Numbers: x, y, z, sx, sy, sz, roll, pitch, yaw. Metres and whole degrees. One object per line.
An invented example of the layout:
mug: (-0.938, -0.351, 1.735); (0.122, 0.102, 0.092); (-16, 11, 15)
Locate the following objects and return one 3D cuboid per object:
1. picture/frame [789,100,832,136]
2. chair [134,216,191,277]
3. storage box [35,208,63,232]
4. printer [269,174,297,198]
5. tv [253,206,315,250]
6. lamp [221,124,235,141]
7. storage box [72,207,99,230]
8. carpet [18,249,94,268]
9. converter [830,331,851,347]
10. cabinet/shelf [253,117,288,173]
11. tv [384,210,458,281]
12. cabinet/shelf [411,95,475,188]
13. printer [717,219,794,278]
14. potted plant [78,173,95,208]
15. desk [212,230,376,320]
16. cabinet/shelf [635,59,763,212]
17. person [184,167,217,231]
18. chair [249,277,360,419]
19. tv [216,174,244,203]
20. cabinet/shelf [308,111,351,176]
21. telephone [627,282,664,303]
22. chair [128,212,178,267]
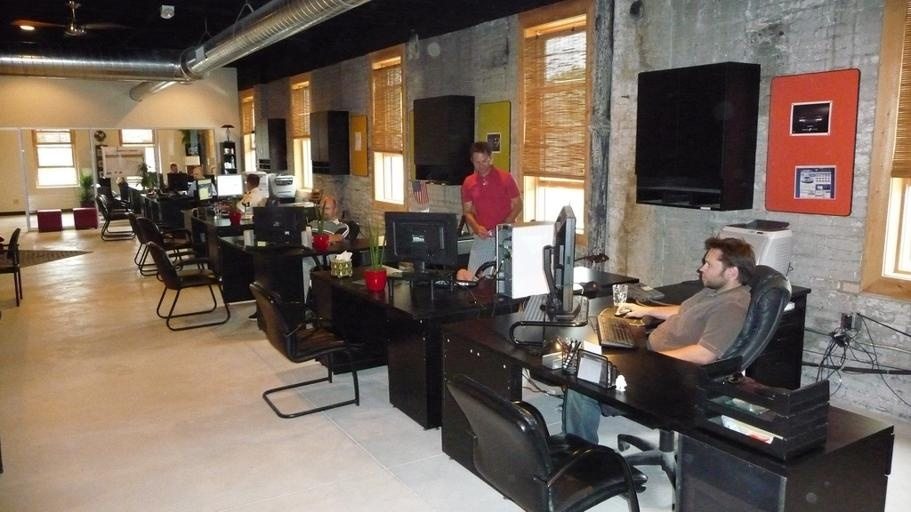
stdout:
picture/frame: (3.803, -1.470, 6.492); (0.455, 0.375, 0.047); (7, 6, 43)
chair: (-5.301, -0.254, 11.047); (0.991, 0.846, 0.820); (-1, -4, -4)
storage box: (-10.429, -0.887, 15.707); (0.540, 0.534, 0.414); (-10, 13, -30)
printer: (-3.840, -1.573, 13.830); (0.577, 0.620, 0.737); (-3, 5, -31)
tv: (-2.322, -0.415, 8.431); (0.849, 0.471, 0.437); (1, 1, 18)
lamp: (-5.518, -3.018, 14.964); (0.379, 0.329, 0.354); (-5, 7, -30)
storage box: (-9.720, -0.972, 16.126); (0.567, 0.554, 0.319); (-9, 13, -28)
carpet: (-8.382, -0.015, 12.754); (1.118, 0.136, 1.827); (-8, 11, -32)
converter: (4.067, 0.874, 6.428); (0.144, 0.092, 0.202); (-3, -3, 41)
cabinet/shelf: (-4.296, -2.610, 14.361); (0.527, 1.282, 1.504); (-4, 8, -29)
tv: (-0.368, -0.111, 6.609); (0.948, 0.567, 0.228); (5, 18, 20)
cabinet/shelf: (-0.158, -1.774, 9.413); (0.960, 1.310, 0.549); (-2, 12, 8)
printer: (3.285, -0.074, 6.700); (0.526, 0.507, 0.653); (-9, 14, -30)
potted plant: (-10.789, -1.939, 17.862); (0.443, 0.974, 0.427); (-10, 13, -28)
desk: (-2.437, 0.157, 8.518); (1.389, 0.757, 1.735); (-6, 12, -33)
cabinet/shelf: (2.702, -1.320, 6.880); (1.268, 1.570, 0.596); (0, 12, 17)
person: (-5.847, -1.368, 13.687); (0.731, 1.040, 0.664); (10, 3, -44)
chair: (-1.615, 0.973, 6.701); (1.266, 1.155, 1.076); (1, 4, -7)
tv: (-4.741, -1.489, 13.131); (0.765, 0.609, 0.707); (-5, 14, -25)
cabinet/shelf: (-2.516, -2.263, 12.440); (0.542, 1.222, 0.966); (-7, 14, -29)
telephone: (1.928, 0.385, 6.212); (0.239, 0.060, 0.234); (11, 16, 34)
chair: (-5.235, -0.221, 10.768); (0.775, 0.847, 0.743); (8, -11, -44)
